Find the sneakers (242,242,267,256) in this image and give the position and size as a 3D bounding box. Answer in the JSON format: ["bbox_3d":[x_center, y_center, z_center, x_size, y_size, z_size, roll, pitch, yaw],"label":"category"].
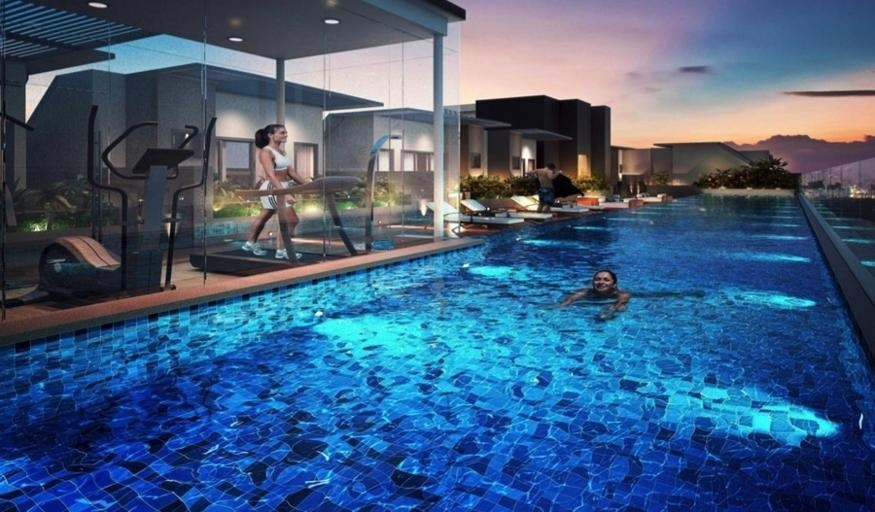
[{"bbox_3d":[-2.645,-0.111,7.467,0.304,0.129,0.115,15,13,-41],"label":"sneakers"}]

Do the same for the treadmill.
[{"bbox_3d":[-2.416,-0.537,8.527,3.645,1.557,1.459,-1,0,-9],"label":"treadmill"}]

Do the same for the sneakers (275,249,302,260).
[{"bbox_3d":[-2.255,-0.022,7.841,0.356,0.136,0.119,-1,2,-26],"label":"sneakers"}]
